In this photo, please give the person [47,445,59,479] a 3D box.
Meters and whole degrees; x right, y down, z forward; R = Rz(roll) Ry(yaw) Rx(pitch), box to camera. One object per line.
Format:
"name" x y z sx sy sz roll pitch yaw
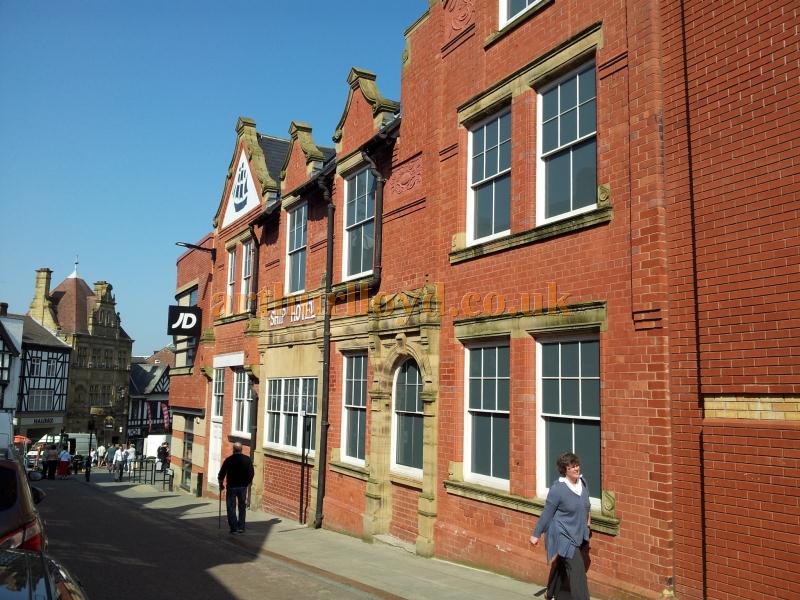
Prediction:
"person" -16.182 7.588 33.319 0.388 1.570 2.162 5 -12 -24
